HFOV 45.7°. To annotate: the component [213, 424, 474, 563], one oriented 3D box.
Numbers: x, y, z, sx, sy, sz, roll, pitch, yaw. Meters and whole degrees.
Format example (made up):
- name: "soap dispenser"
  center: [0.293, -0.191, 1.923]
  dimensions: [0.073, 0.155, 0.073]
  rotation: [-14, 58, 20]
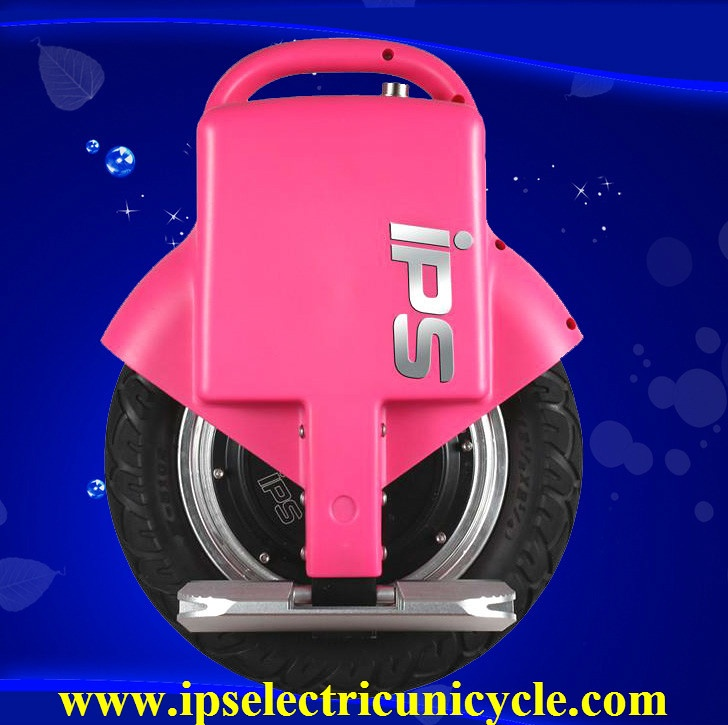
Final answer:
- name: "component"
  center: [-0.019, 0.190, 1.244]
  dimensions: [0.305, 0.070, 0.221]
  rotation: [-2, 95, 4]
